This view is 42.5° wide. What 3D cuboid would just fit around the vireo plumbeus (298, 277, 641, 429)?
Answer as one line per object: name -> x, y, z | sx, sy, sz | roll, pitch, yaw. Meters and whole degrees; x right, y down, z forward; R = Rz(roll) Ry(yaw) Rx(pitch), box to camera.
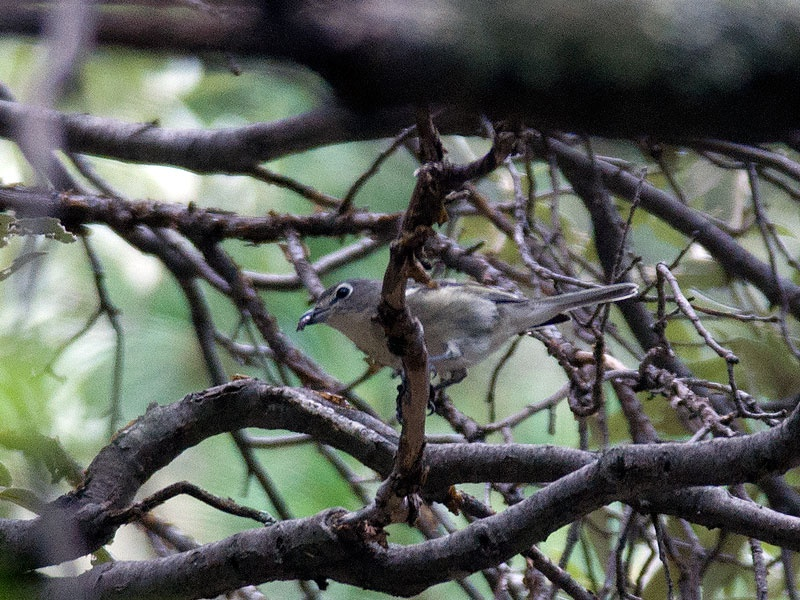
vireo plumbeus -> 0.228, 0.092, 3.485 | 1.155, 0.443, 0.358 | -6, -27, -11
